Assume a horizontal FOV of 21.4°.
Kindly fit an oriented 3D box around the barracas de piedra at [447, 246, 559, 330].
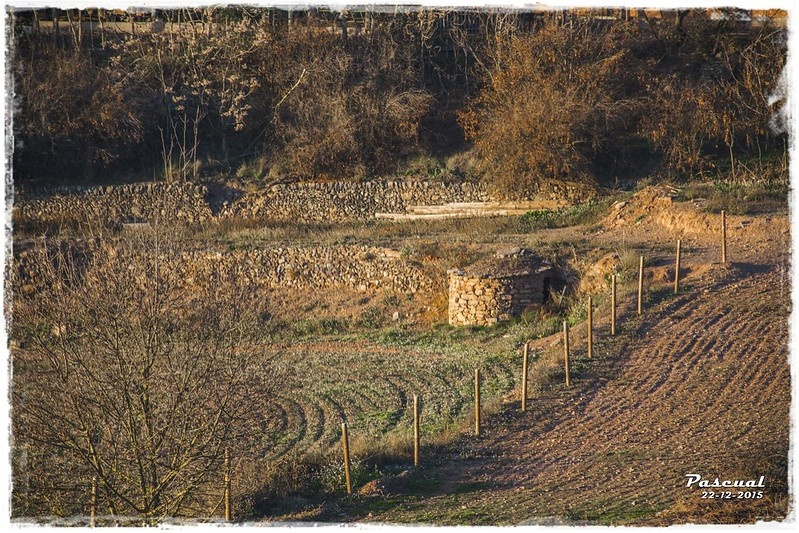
[{"bbox_3d":[5.370,1.181,111.344,4.241,2.438,3.638,-7,5,19],"label":"barracas de piedra"}]
